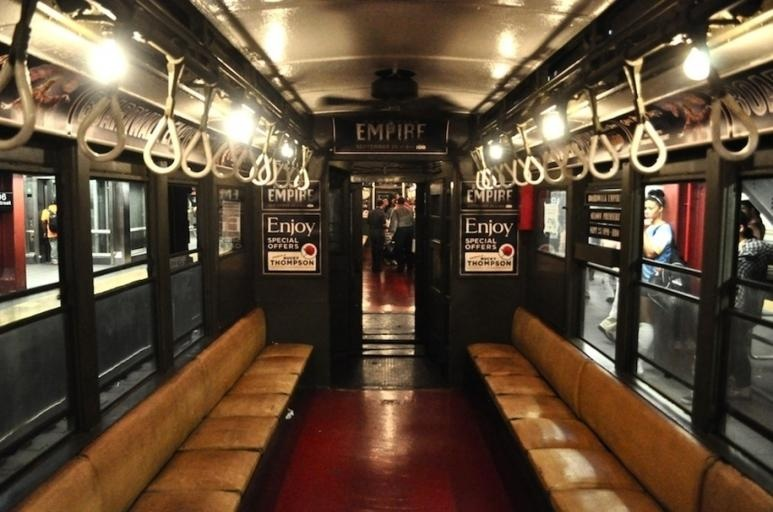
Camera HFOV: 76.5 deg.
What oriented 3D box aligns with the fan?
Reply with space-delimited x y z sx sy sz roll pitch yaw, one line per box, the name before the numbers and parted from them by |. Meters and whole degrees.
fan | 0.078 -1.598 5.468 2.000 0.985 1.369 2 16 14
